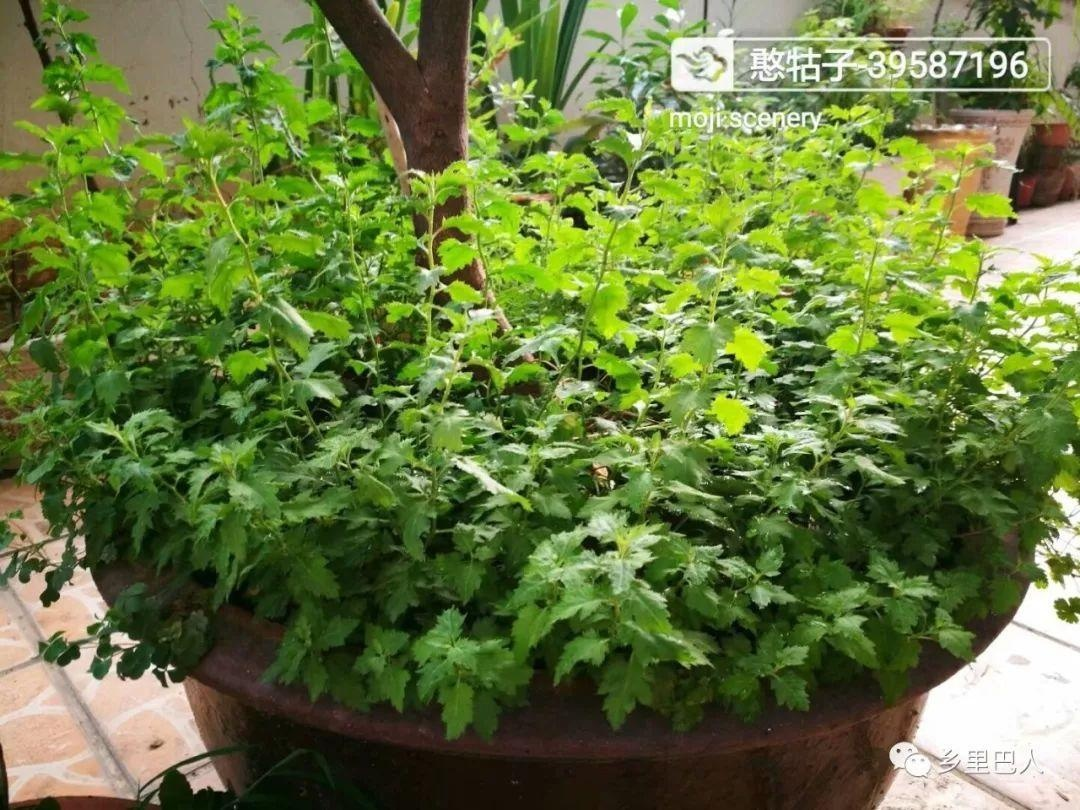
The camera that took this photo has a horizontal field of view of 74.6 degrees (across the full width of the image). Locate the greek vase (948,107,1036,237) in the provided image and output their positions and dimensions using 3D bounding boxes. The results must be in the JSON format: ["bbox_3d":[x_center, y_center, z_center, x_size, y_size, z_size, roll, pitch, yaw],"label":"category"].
[{"bbox_3d":[3.644,-1.801,5.846,0.709,0.787,0.688,-6,12,16],"label":"greek vase"}]
